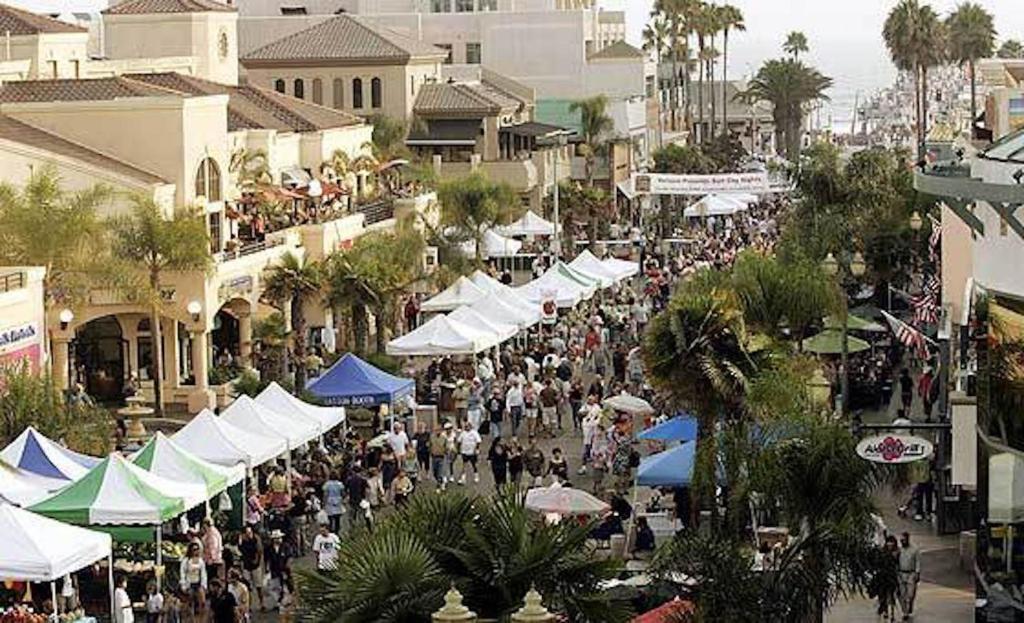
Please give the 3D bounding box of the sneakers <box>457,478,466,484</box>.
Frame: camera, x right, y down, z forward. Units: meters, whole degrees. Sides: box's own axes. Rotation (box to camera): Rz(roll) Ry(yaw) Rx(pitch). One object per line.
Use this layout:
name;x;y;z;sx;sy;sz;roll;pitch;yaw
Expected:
sneakers;-1.567;5.299;58.443;0.229;0.232;0.278;-3;1;-5

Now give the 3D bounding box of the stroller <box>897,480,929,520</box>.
stroller;11.673;5.592;54.878;1.431;0.767;2.235;-21;-10;8

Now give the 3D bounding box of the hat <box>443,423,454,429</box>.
hat;-1.999;3.676;59.245;0.168;0.138;0.237;-3;1;15

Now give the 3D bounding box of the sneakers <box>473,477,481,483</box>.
sneakers;-1.093;5.309;58.488;0.095;0.179;0.251;-1;1;8

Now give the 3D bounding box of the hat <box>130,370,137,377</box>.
hat;-13.230;2.287;65.988;0.260;0.115;0.350;2;1;-12

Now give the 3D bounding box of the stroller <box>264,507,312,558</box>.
stroller;-6.393;6.309;53.741;1.346;1.663;1.133;-3;7;-7

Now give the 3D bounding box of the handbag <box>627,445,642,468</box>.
handbag;3.741;4.579;57.802;0.528;0.595;0.641;1;8;-1
